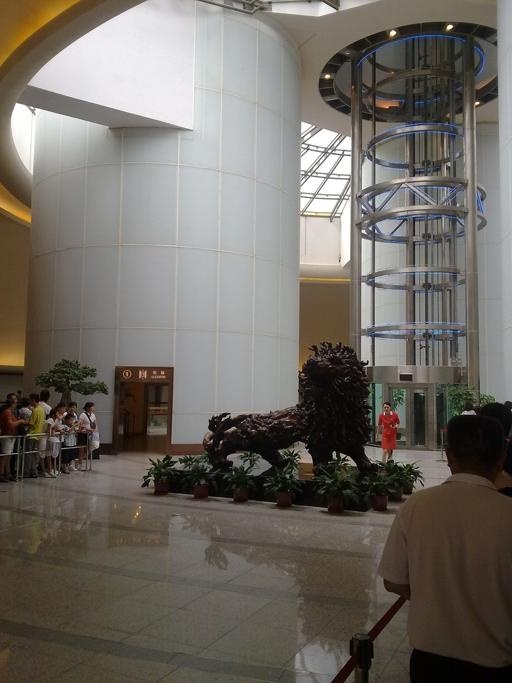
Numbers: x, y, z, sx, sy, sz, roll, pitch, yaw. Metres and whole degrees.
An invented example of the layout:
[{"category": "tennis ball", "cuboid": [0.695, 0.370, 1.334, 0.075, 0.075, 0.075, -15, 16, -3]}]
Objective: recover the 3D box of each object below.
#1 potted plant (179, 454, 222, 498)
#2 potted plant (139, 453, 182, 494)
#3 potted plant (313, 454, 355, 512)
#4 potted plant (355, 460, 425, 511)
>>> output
[{"category": "potted plant", "cuboid": [-1.043, 2.630, 11.307, 0.703, 0.693, 0.692, 4, -10, -25]}, {"category": "potted plant", "cuboid": [-1.881, 2.633, 11.674, 0.778, 0.894, 0.941, 2, -12, -4]}, {"category": "potted plant", "cuboid": [1.390, 2.456, 9.871, 0.727, 0.757, 0.676, 0, -10, -2]}, {"category": "potted plant", "cuboid": [2.208, 2.703, 10.275, 1.098, 0.581, 1.058, -1, -4, -22]}]
